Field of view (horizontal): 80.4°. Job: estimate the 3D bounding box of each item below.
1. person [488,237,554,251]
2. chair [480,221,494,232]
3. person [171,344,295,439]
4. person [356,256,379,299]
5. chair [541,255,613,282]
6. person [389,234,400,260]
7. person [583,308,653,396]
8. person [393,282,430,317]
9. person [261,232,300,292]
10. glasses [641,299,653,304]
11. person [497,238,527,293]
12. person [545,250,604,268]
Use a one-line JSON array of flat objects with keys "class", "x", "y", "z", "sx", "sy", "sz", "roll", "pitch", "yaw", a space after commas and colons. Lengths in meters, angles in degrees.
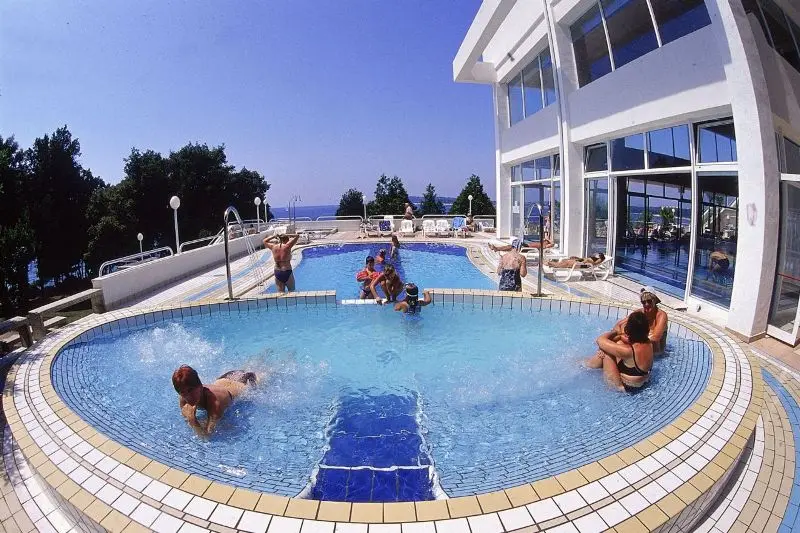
[{"class": "person", "x": 3.694, "y": -0.672, "z": 14.332, "sx": 1.150, "sy": 0.345, "sz": 0.866, "roll": 0, "pitch": 6, "yaw": 4}, {"class": "chair", "x": 4.297, "y": -2.006, "z": 23.292, "sx": 0.611, "sy": 0.439, "sz": 1.427, "roll": 0, "pitch": 10, "yaw": 10}, {"class": "person", "x": -2.731, "y": 1.841, "z": 7.402, "sx": 0.501, "sy": 1.097, "sz": 1.607, "roll": 3, "pitch": 10, "yaw": 25}, {"class": "person", "x": -0.707, "y": 0.476, "z": 10.474, "sx": 0.512, "sy": 1.356, "sz": 0.451, "roll": 4, "pitch": -4, "yaw": -13}, {"class": "chair", "x": 4.461, "y": 0.049, "z": 11.858, "sx": 1.281, "sy": 0.483, "sz": 0.811, "roll": -2, "pitch": 7, "yaw": 6}, {"class": "person", "x": -0.199, "y": -0.633, "z": 16.246, "sx": 0.336, "sy": 0.316, "sz": 1.005, "roll": -20, "pitch": -16, "yaw": -10}, {"class": "person", "x": 3.518, "y": 1.320, "z": 7.659, "sx": 0.614, "sy": 1.396, "sz": 1.065, "roll": -10, "pitch": 29, "yaw": -33}, {"class": "person", "x": 0.258, "y": 0.625, "z": 10.008, "sx": 0.537, "sy": 0.628, "sz": 0.780, "roll": 4, "pitch": 11, "yaw": 30}, {"class": "person", "x": -2.770, "y": -0.030, "z": 11.223, "sx": 0.753, "sy": 1.543, "sz": 1.902, "roll": -4, "pitch": 10, "yaw": -13}, {"class": "glasses", "x": 4.090, "y": 0.590, "z": 7.869, "sx": 0.141, "sy": 0.069, "sz": 0.068, "roll": 4, "pitch": 11, "yaw": 32}, {"class": "person", "x": 2.544, "y": 0.169, "z": 10.966, "sx": 0.579, "sy": 1.968, "sz": 0.585, "roll": 5, "pitch": 47, "yaw": 11}, {"class": "person", "x": 4.414, "y": -0.122, "z": 11.962, "sx": 1.074, "sy": 0.351, "sz": 0.646, "roll": 0, "pitch": 1, "yaw": 5}]
